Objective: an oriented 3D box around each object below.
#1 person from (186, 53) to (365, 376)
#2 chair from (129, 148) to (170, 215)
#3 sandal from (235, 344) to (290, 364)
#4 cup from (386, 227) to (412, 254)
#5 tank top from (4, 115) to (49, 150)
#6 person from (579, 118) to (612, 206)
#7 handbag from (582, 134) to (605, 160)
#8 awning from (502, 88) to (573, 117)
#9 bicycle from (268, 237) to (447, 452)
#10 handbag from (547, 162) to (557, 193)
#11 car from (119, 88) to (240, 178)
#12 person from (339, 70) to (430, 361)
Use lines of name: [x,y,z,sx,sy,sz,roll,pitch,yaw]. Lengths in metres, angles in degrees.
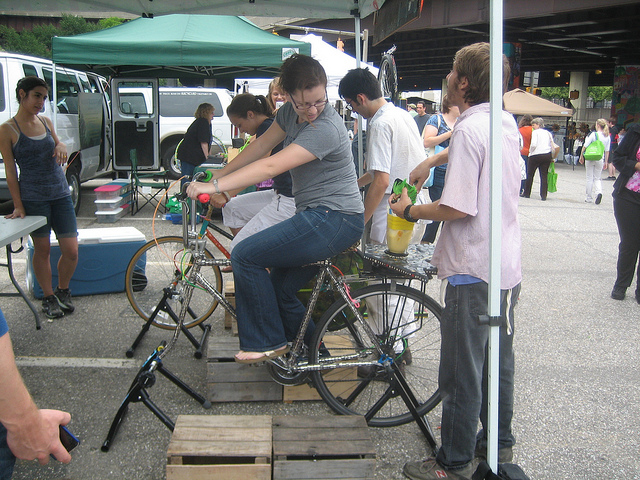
person: [-0.227,-0.113,3.951,1.085,2.302,0.554,-3,14,-13]
chair: [-3.217,-1.116,10.539,0.749,1.211,0.704,3,10,-3]
sandal: [-0.403,0.800,3.896,0.366,0.104,0.134,-6,3,-25]
cup: [0.551,0.000,3.955,0.168,0.191,0.171,1,10,0]
tank top: [-2.856,-1.037,5.433,0.281,0.161,0.353,-11,14,20]
person: [6.666,-1.911,13.477,0.791,2.006,0.859,-2,13,-15]
handbag: [6.257,-2.056,12.696,0.346,0.392,0.527,10,17,35]
awning: [7.478,-4.844,19.511,1.683,0.931,4.190,8,16,29]
bicycle: [0.382,0.720,4.686,1.790,1.619,0.957,6,5,7]
handbag: [5.550,-1.482,13.330,0.205,0.701,0.464,5,15,20]
car: [-2.999,-2.593,14.045,3.652,2.156,2.206,5,15,-5]
person: [0.485,-0.212,4.453,0.572,1.703,0.547,11,-19,9]
